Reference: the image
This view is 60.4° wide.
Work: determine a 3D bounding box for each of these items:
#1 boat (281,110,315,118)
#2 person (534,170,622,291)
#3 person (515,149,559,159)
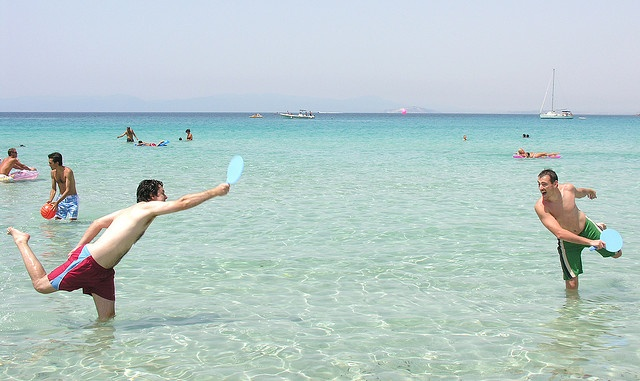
[{"bbox_3d":[-5.912,-21.187,152.629,7.273,2.665,10.339,-1,6,4],"label":"boat"},{"bbox_3d":[5.729,0.921,12.271,1.290,2.759,1.657,5,11,41],"label":"person"},{"bbox_3d":[13.727,-2.299,34.785,2.619,0.618,1.531,0,6,8],"label":"person"}]
